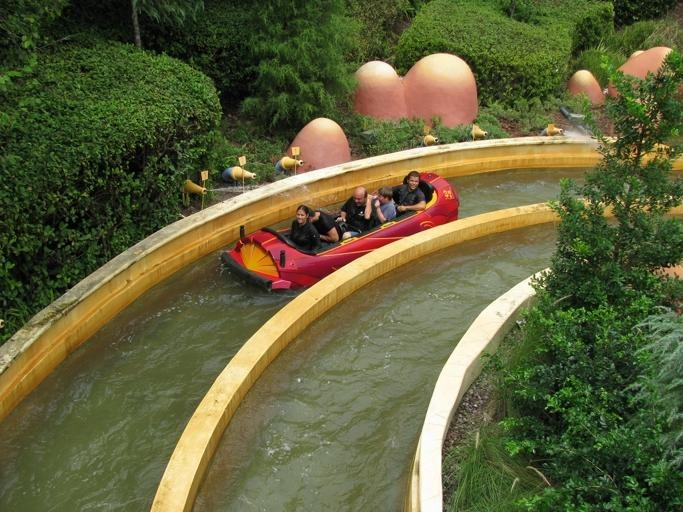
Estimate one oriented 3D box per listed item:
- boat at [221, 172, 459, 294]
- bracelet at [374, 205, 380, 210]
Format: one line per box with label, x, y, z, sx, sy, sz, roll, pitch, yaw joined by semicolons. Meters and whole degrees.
boat;0.181;-0.243;10.508;4.623;1.425;1.831;-24;39;-26
bracelet;0.677;-0.922;10.104;0.058;0.071;0.107;-5;-1;-7
